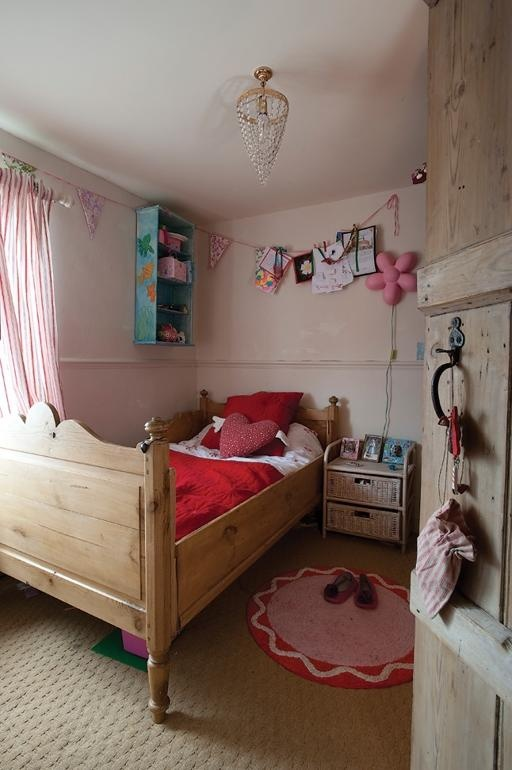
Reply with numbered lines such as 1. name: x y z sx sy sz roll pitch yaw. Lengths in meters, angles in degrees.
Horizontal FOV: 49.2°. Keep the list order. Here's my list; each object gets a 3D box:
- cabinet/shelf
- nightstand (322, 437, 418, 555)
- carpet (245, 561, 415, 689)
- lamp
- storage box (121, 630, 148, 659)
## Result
1. cabinet/shelf: -0.562 -0.656 3.469 0.266 0.831 0.623 2 10 6
2. nightstand: 0.629 0.574 3.098 0.459 0.581 0.349 5 10 32
3. carpet: 0.315 0.907 2.214 0.683 0.019 0.770 13 15 10
4. lamp: -0.007 -1.057 2.237 0.202 0.483 0.210 -3 11 -18
5. storage box: -0.418 0.903 1.958 0.084 0.094 0.111 4 -16 -7
